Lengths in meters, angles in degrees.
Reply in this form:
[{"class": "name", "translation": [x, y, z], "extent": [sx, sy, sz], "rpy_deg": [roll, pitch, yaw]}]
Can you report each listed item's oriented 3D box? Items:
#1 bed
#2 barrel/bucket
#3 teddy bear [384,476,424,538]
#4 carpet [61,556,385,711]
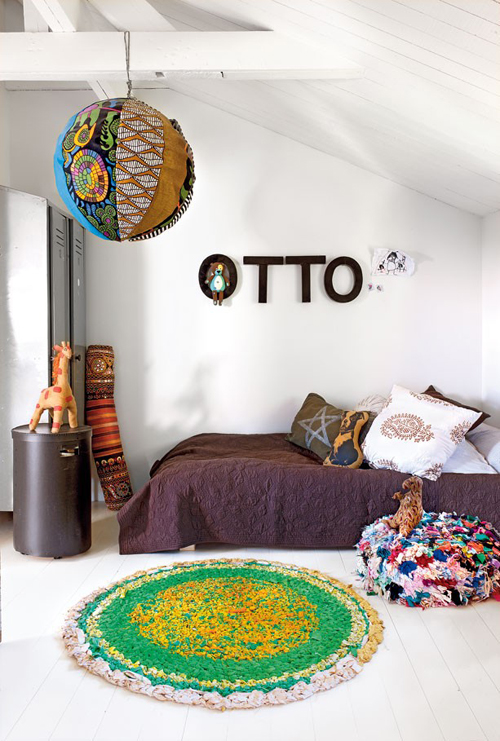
[{"class": "bed", "translation": [0.275, 0.670, 3.090], "extent": [1.268, 0.354, 0.817], "rpy_deg": [1, 0, 5]}, {"class": "barrel/bucket", "translation": [-0.976, 0.600, 2.888], "extent": [0.366, 0.608, 0.212], "rpy_deg": [0, 0, -19]}, {"class": "teddy bear", "translation": [0.738, 0.636, 2.752], "extent": [0.122, 0.313, 0.144], "rpy_deg": [25, -38, -14]}, {"class": "carpet", "translation": [-0.077, 0.927, 2.184], "extent": [1.171, 0.026, 1.156], "rpy_deg": [0, 0, -28]}]
